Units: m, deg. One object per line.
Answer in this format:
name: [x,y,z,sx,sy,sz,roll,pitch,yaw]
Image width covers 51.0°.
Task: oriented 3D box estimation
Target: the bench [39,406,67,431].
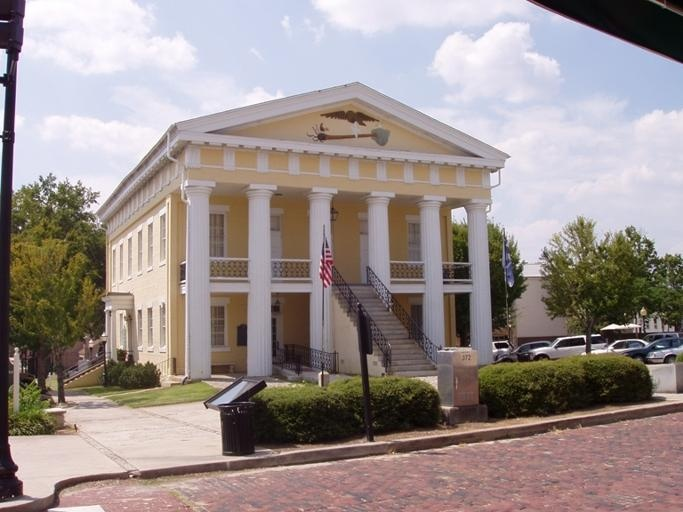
bench: [-7.610,4.280,18.966,0.637,0.618,0.799,2,-11,-13]
